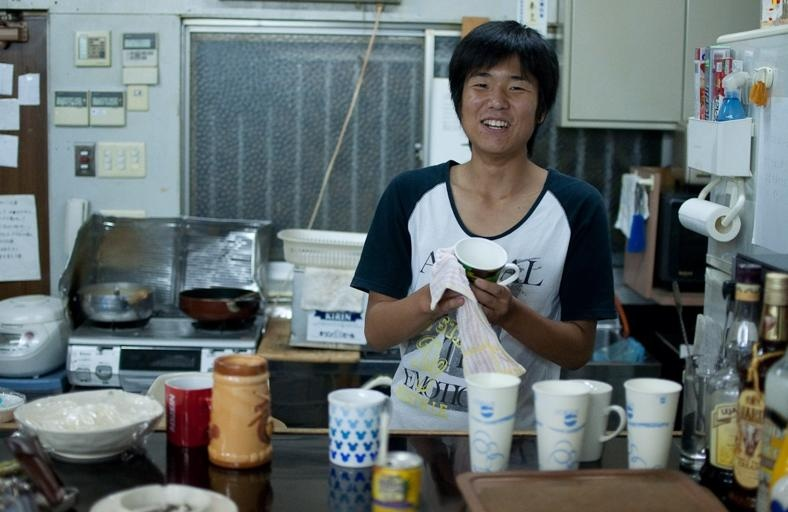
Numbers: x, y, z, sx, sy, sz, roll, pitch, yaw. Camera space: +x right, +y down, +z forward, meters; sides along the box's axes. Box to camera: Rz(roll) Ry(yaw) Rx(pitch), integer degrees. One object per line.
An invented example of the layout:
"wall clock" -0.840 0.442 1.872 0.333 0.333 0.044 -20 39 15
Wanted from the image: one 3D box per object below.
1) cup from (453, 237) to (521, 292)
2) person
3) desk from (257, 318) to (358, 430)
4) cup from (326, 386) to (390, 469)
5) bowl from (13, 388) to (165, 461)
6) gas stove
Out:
"cup" 0.221 0.023 1.681 0.147 0.111 0.116 19 40 -7
"person" 0.251 -0.072 1.871 0.585 1.123 0.496 -9 12 -38
"desk" -0.325 0.447 2.928 0.456 0.461 0.470 2 0 3
"cup" -0.088 0.377 1.504 0.154 0.171 0.099 1 9 10
"bowl" -0.675 0.385 1.534 0.309 0.114 0.172 0 9 6
"gas stove" -1.020 0.398 2.782 0.482 0.157 0.365 0 3 -1
